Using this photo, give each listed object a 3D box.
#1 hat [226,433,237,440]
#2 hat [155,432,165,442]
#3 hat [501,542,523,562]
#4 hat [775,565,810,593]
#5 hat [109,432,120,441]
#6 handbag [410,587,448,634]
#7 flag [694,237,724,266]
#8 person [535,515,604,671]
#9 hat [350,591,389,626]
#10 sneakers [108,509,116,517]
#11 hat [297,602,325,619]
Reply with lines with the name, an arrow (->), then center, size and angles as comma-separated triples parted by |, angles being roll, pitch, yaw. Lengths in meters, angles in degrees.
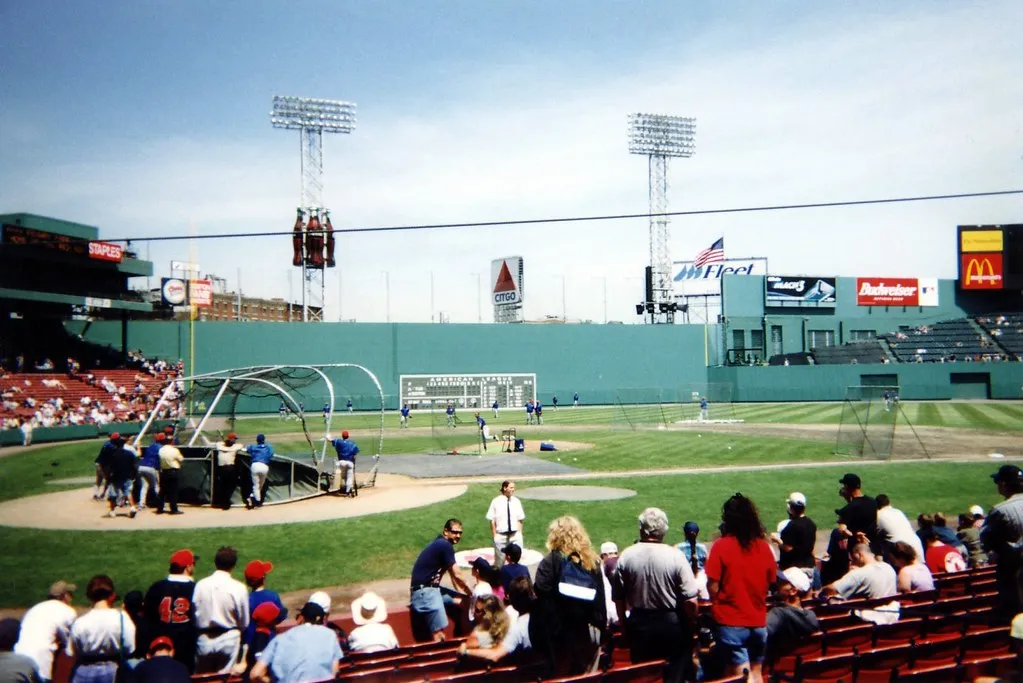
hat -> -9.574, 3.268, 34.012 | 0.318, 0.298, 0.250 | -10, 7, -44
hat -> -11.802, 3.221, 33.367 | 0.321, 0.345, 0.564 | -1, -2, -20
hat -> 0.026, 5.084, 23.914 | 0.438, 0.547, 0.564 | 1, 3, -4
hat -> 6.710, 5.639, 23.454 | 0.709, 0.367, 0.486 | 44, 32, 25
hat -> -13.174, 3.134, 32.989 | 0.360, 0.147, 0.487 | -1, 3, -7
handbag -> -2.035, 6.599, 24.326 | 0.689, 1.137, 1.169 | -7, 1, -14
flag -> 17.592, -7.894, 86.919 | 0.546, 2.054, 2.889 | -1, -2, -34
person -> 1.318, 5.690, 22.210 | 1.562, 3.472, 0.432 | -2, -2, 1
hat -> -3.382, 6.364, 23.875 | 0.905, 1.014, 0.320 | 0, -39, -3
sneakers -> -13.128, 5.590, 32.497 | 0.253, 0.216, 0.331 | -1, -2, -28
hat -> -4.565, 6.181, 22.672 | 0.496, 0.364, 0.797 | 9, -4, -9
